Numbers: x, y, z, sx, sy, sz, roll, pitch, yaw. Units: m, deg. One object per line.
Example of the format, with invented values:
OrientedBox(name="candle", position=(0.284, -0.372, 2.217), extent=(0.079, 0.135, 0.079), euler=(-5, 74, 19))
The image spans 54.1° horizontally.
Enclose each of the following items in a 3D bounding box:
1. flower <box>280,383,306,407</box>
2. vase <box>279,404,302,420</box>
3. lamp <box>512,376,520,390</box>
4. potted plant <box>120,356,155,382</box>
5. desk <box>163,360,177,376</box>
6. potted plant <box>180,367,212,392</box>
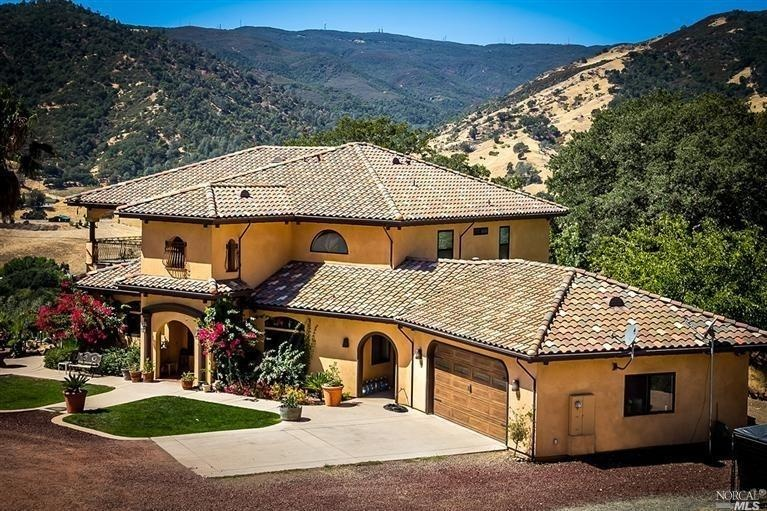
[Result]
OrientedBox(name="flower", position=(-4.166, 6.402, 34.325), extent=(0.904, 0.714, 1.019), euler=(5, -4, -22))
OrientedBox(name="vase", position=(-4.131, 6.933, 33.275), extent=(0.780, 0.463, 0.741), euler=(2, -8, -8))
OrientedBox(name="lamp", position=(5.376, 5.265, 30.696), extent=(0.117, 0.526, 0.395), euler=(-9, 16, -40))
OrientedBox(name="potted plant", position=(-12.314, 5.744, 37.739), extent=(1.310, 0.918, 1.278), euler=(5, -5, -23))
OrientedBox(name="desk", position=(-10.966, 5.842, 38.652), extent=(0.534, 0.638, 1.039), euler=(3, 4, 27))
OrientedBox(name="potted plant", position=(-9.166, 6.166, 36.610), extent=(1.603, 0.633, 0.767), euler=(4, 12, 8))
